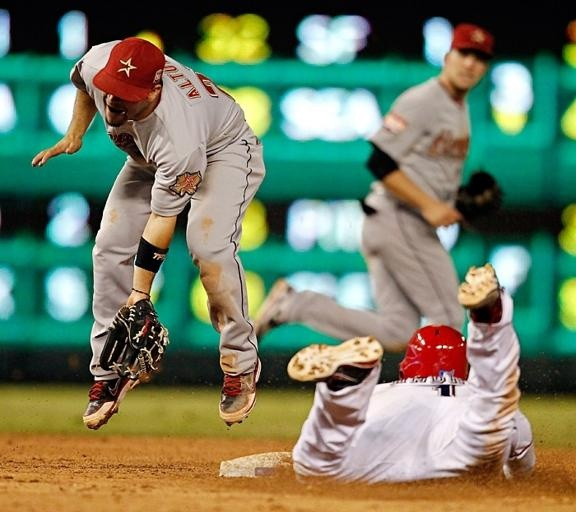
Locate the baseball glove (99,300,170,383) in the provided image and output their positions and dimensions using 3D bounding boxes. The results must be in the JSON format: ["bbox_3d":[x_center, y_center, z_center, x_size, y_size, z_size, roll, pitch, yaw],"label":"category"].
[{"bbox_3d":[-0.670,0.408,4.191,0.244,0.324,0.127,17,47,21],"label":"baseball glove"}]

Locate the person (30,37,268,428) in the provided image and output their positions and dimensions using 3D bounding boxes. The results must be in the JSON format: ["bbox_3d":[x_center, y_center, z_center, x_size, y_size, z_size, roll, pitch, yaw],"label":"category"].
[{"bbox_3d":[-0.574,-0.086,4.379,0.819,1.736,0.730,-1,-1,12],"label":"person"}]

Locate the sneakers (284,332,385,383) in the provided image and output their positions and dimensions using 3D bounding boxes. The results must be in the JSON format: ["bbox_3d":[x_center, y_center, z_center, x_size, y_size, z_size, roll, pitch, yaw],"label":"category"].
[{"bbox_3d":[0.164,0.348,3.450,0.302,0.068,0.150,-8,50,6],"label":"sneakers"}]

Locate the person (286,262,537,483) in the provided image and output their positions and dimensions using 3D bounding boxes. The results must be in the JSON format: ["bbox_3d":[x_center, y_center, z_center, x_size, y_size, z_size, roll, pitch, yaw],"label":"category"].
[{"bbox_3d":[0.485,0.568,3.959,0.974,0.678,1.813,3,-14,12],"label":"person"}]

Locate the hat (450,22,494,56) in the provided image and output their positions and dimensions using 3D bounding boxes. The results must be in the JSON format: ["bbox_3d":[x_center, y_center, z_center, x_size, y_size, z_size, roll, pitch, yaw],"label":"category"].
[{"bbox_3d":[0.843,-0.992,4.604,0.187,0.168,0.124,-1,-1,8],"label":"hat"}]

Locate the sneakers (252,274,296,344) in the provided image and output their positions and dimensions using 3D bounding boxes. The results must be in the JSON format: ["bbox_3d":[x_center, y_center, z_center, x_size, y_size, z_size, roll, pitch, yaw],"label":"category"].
[{"bbox_3d":[-0.074,0.248,4.670,0.145,0.348,0.119,33,-9,6],"label":"sneakers"}]

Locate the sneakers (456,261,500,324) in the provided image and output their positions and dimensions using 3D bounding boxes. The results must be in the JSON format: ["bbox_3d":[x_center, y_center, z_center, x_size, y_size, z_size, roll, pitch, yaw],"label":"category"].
[{"bbox_3d":[0.666,0.083,3.427,0.152,0.049,0.197,-25,33,35],"label":"sneakers"}]

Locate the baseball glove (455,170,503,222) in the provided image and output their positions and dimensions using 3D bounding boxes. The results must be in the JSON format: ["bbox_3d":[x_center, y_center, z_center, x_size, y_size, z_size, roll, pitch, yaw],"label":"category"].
[{"bbox_3d":[0.967,-0.293,4.933,0.124,0.172,0.307,-17,13,43],"label":"baseball glove"}]

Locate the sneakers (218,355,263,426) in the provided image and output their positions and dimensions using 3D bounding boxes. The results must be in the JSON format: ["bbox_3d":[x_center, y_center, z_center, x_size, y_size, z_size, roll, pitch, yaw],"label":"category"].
[{"bbox_3d":[-0.220,0.595,4.553,0.130,0.327,0.147,4,-17,16],"label":"sneakers"}]

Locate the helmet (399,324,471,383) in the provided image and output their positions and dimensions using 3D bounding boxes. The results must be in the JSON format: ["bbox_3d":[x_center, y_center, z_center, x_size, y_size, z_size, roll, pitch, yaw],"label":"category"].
[{"bbox_3d":[0.562,0.364,3.824,0.294,0.214,0.205,-2,7,2],"label":"helmet"}]

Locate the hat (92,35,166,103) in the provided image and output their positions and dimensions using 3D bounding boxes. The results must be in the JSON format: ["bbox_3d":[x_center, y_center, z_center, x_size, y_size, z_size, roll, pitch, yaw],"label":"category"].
[{"bbox_3d":[-0.638,-0.793,4.111,0.250,0.141,0.365,28,43,5],"label":"hat"}]
